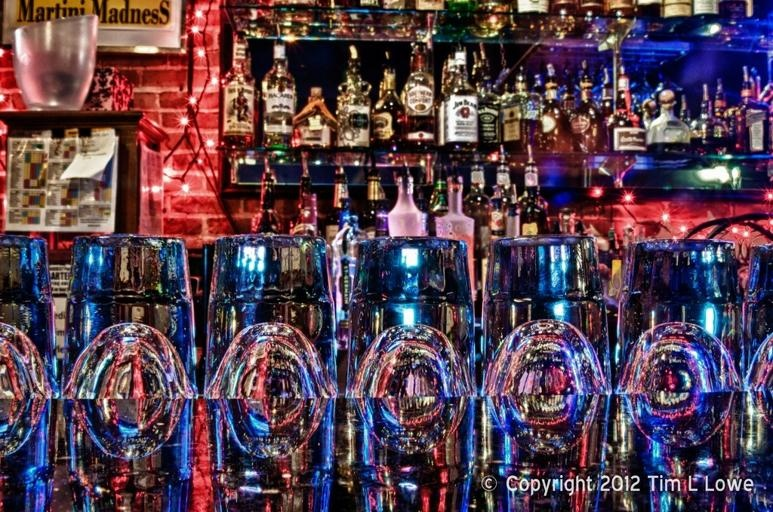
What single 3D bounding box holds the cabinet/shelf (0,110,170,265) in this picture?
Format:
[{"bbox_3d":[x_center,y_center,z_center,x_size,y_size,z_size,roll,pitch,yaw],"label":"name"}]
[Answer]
[{"bbox_3d":[-0.973,-0.200,4.805,0.518,0.761,0.499,0,-5,-3],"label":"cabinet/shelf"}]
